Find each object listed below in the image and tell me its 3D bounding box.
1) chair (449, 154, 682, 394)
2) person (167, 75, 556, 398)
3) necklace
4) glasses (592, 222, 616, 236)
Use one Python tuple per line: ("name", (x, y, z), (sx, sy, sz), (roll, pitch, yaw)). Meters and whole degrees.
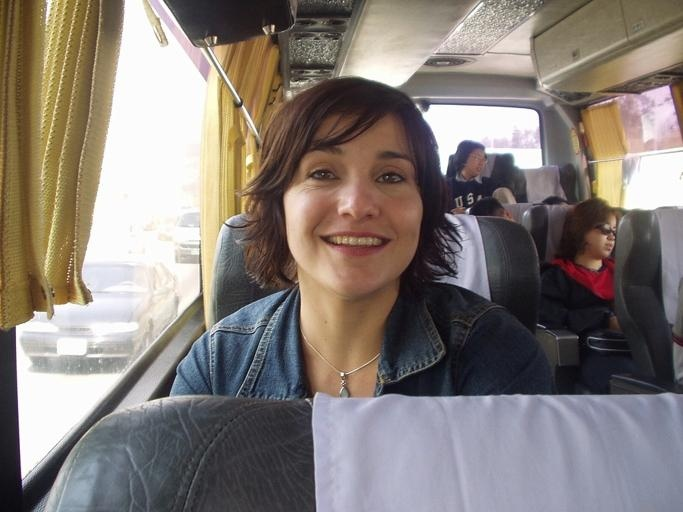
("chair", (1.052, 0.145, 3.034), (0.872, 1.265, 1.062), (1, -28, 2))
("person", (0.050, -0.047, 1.389), (0.935, 0.827, 0.360), (2, 4, 18))
("necklace", (0.003, 0.265, 1.312), (0.176, 0.197, 0.015), (1, -12, 6))
("glasses", (1.608, -0.164, 3.226), (0.084, 0.033, 0.089), (16, -16, -10))
